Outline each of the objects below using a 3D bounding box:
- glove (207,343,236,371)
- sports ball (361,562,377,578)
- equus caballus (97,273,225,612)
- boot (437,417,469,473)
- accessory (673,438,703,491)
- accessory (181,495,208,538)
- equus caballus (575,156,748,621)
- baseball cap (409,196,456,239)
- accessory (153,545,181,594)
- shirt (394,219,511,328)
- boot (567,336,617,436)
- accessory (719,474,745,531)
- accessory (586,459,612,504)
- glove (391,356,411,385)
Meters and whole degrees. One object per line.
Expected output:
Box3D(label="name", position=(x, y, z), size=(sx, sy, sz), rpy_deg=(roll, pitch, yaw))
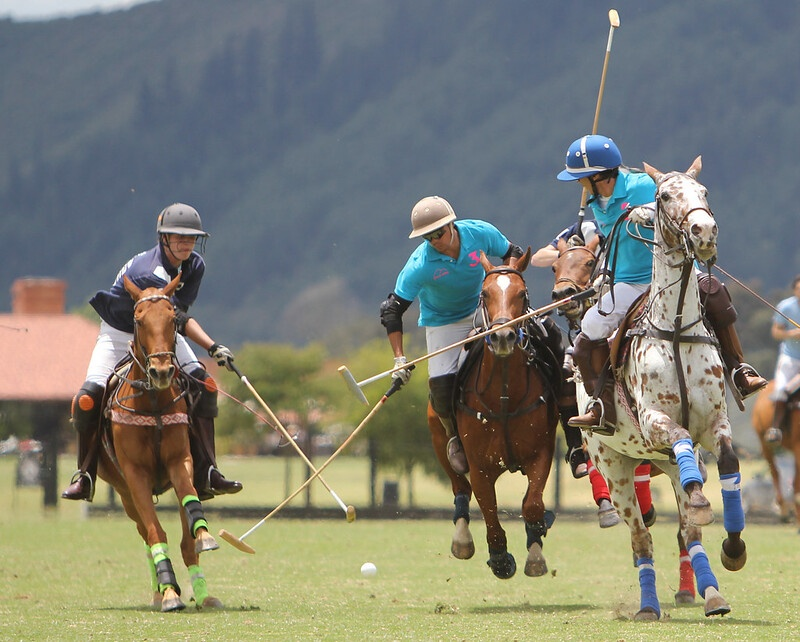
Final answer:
Box3D(label="glove", position=(-2.396, 0.490, 24.935), size=(0.249, 0.405, 0.151), rpy_deg=(-50, -35, 4))
Box3D(label="sports ball", position=(-0.389, 3.460, 25.255), size=(0.224, 0.117, 0.228), rpy_deg=(-19, 2, 1))
Box3D(label="equus caballus", position=(-3.210, 1.646, 24.311), size=(1.110, 4.473, 1.689), rpy_deg=(0, -8, -30))
Box3D(label="boot", position=(0.745, 1.682, 24.888), size=(0.257, 0.840, 0.300), rpy_deg=(2, -52, -20))
Box3D(label="accessory", position=(3.572, 1.806, 22.760), size=(0.325, 0.769, 0.255), rpy_deg=(-25, -48, 16))
Box3D(label="accessory", position=(-2.690, 2.601, 24.165), size=(0.313, 0.544, 0.233), rpy_deg=(-4, -7, 4))
Box3D(label="equus caballus", position=(3.433, 0.889, 23.134), size=(1.122, 5.819, 2.216), rpy_deg=(0, -8, -26))
Box3D(label="baseball cap", position=(0.467, -1.451, 24.815), size=(0.501, 0.356, 0.624), rpy_deg=(-10, 12, 40))
Box3D(label="accessory", position=(-3.125, 3.398, 24.547), size=(0.329, 0.828, 0.317), rpy_deg=(-9, -33, -13))
Box3D(label="shirt", position=(0.764, -0.695, 25.510), size=(1.880, 1.730, 1.380), rpy_deg=(1, -8, 7))
Box3D(label="boot", position=(2.477, 0.793, 23.634), size=(0.772, 1.210, 0.482), rpy_deg=(1, 1, -15))
Box3D(label="accessory", position=(4.142, 2.296, 22.848), size=(0.247, 0.750, 0.428), rpy_deg=(-5, -7, 7))
Box3D(label="accessory", position=(2.650, 2.176, 24.530), size=(0.170, 0.723, 0.198), rpy_deg=(-5, -51, -11))
Box3D(label="glove", position=(0.035, 0.683, 24.922), size=(0.276, 0.368, 0.148), rpy_deg=(4, 16, -6))
